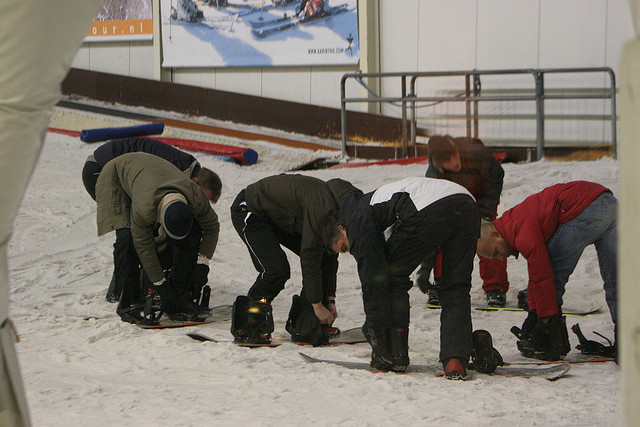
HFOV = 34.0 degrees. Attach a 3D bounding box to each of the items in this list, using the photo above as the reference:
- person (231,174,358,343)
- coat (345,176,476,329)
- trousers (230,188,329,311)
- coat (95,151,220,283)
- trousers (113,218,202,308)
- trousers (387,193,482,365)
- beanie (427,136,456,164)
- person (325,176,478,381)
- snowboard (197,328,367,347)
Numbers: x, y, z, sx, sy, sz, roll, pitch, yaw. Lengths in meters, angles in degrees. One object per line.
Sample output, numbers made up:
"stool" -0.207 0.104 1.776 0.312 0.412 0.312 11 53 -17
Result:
"person" -0.253 0.545 11.628 1.510 1.875 1.055 -1 6 2
"coat" 1.091 0.318 10.890 1.459 1.660 1.242 -5 8 12
"trousers" -0.508 0.450 11.525 0.870 1.482 0.426 -15 -5 -36
"coat" -1.913 -0.138 12.072 1.365 1.039 1.817 -13 41 -27
"trousers" -2.125 0.551 12.266 0.800 1.058 1.073 21 -16 -30
"trousers" 1.169 0.676 10.771 0.942 1.784 0.316 1 2 9
"beanie" 1.347 -0.722 11.781 0.188 0.316 0.322 -1 2 -40
"person" 0.964 0.652 10.743 1.280 2.054 0.307 1 2 8
"snowboard" -0.611 1.367 11.487 0.997 0.115 0.296 2 -5 -14
